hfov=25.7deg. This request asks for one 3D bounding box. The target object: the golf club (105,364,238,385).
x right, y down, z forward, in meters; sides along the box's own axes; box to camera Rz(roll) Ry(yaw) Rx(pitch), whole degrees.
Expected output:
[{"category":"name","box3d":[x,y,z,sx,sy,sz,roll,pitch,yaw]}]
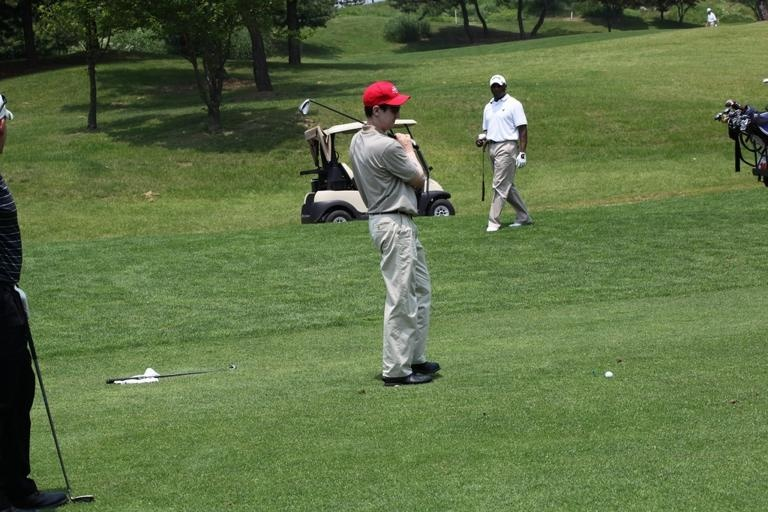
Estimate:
[{"category":"golf club","box3d":[-6.240,3.447,48.250,3.624,0.360,0.393,-5,9,-5]}]
